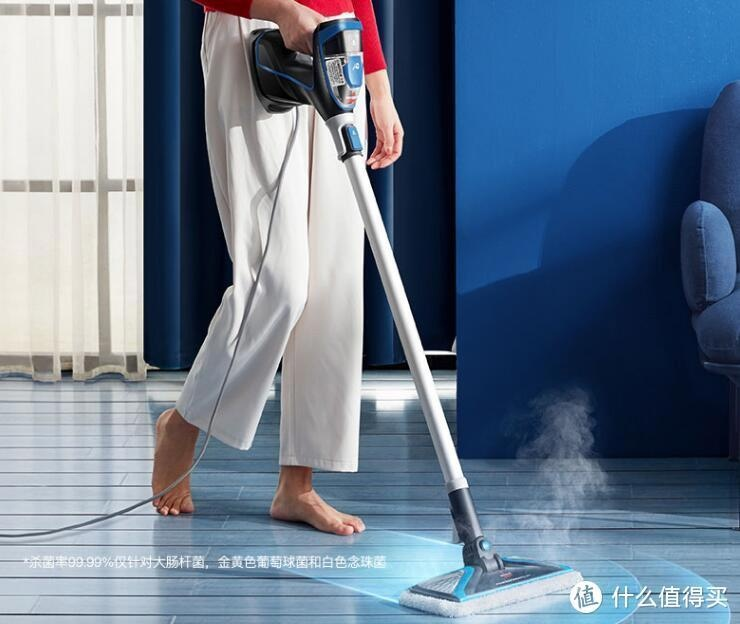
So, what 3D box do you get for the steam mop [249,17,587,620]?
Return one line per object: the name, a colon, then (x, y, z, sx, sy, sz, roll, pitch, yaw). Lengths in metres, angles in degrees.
steam mop: (0.053, -0.026, 1.675, 0.246, 0.982, 0.632, -8, 10, -42)
